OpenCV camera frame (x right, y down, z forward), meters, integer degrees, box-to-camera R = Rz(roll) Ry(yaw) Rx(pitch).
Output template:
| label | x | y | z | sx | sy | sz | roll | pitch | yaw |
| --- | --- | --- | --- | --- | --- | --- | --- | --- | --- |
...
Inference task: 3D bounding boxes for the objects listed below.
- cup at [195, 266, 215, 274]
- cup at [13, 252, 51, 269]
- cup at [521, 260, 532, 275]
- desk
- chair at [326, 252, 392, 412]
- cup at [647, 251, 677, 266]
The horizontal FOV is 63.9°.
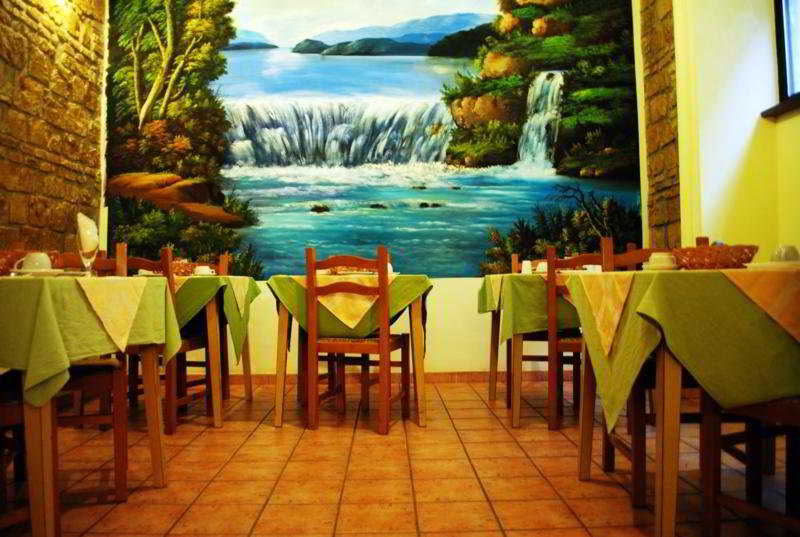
| label | x | y | z | sx | sy | sz | roll | pitch | yaw |
| --- | --- | --- | --- | --- | --- | --- | --- | --- | --- |
| cup | -1.579 | 0.014 | 5.129 | 0.099 | 0.045 | 0.078 | 6 | -3 | -9 |
| cup | -2.099 | -0.037 | 3.642 | 0.158 | 0.107 | 0.117 | -1 | 5 | -15 |
| cup | 1.056 | -0.008 | 5.438 | 0.131 | 0.140 | 0.133 | -1 | 5 | 0 |
| desk | -0.404 | 0.340 | 5.381 | 1.441 | 1.153 | 1.209 | -5 | 30 | -11 |
| chair | -0.321 | 0.468 | 4.997 | 0.518 | 1.360 | 0.819 | -1 | 12 | -1 |
| cup | 1.459 | -0.050 | 3.567 | 0.097 | 0.051 | 0.096 | -1 | 6 | 0 |
